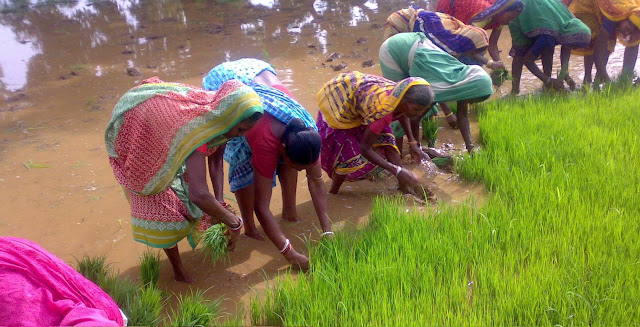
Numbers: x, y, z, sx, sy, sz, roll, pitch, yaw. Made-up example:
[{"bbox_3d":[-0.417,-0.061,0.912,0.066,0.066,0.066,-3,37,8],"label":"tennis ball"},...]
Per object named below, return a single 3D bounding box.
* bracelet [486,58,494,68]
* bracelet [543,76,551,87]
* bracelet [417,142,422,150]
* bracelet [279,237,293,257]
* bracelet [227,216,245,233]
[{"bbox_3d":[2.960,-1.779,8.744,0.165,0.105,0.190,3,-7,10],"label":"bracelet"},{"bbox_3d":[4.364,-1.578,9.608,0.065,0.178,0.143,4,-1,-45],"label":"bracelet"},{"bbox_3d":[1.664,-0.281,8.359,0.055,0.137,0.101,-17,22,24],"label":"bracelet"},{"bbox_3d":[-0.484,1.166,6.936,0.198,0.103,0.199,-25,50,46],"label":"bracelet"},{"bbox_3d":[-1.127,0.845,6.825,0.214,0.160,0.201,-29,46,43],"label":"bracelet"}]
